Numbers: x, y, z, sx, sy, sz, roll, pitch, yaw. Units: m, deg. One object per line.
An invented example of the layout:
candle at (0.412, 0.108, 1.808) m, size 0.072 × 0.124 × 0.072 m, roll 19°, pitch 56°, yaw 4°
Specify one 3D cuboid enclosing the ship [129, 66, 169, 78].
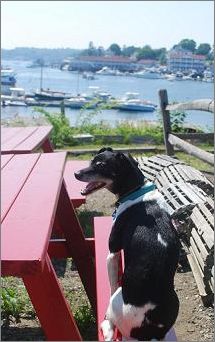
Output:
ship at (18.497, -45.330, 146.489) m, size 14.807 × 7.105 × 43.907 m, roll 1°, pitch 15°, yaw 4°
